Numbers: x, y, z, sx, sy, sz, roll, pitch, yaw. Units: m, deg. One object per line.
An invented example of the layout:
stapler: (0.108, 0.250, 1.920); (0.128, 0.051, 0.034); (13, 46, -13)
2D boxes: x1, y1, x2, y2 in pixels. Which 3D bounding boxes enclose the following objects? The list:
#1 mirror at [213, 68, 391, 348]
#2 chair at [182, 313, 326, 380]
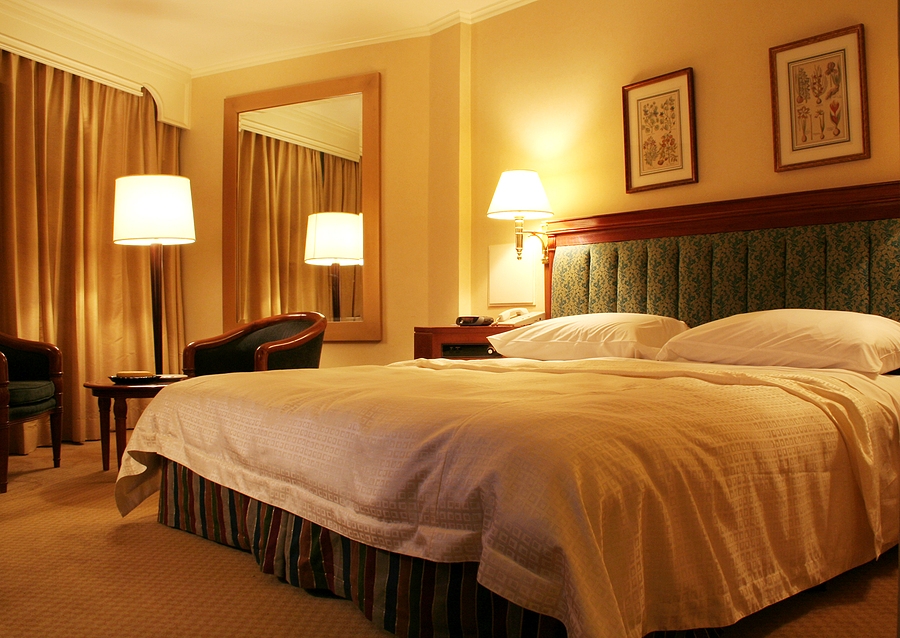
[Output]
mirror: (-1.132, -0.894, 5.575); (2.139, 3.011, 0.071); (-3, -5, 33)
chair: (-1.299, 0.183, 4.738); (0.620, 0.392, 0.609); (3, -6, -40)
